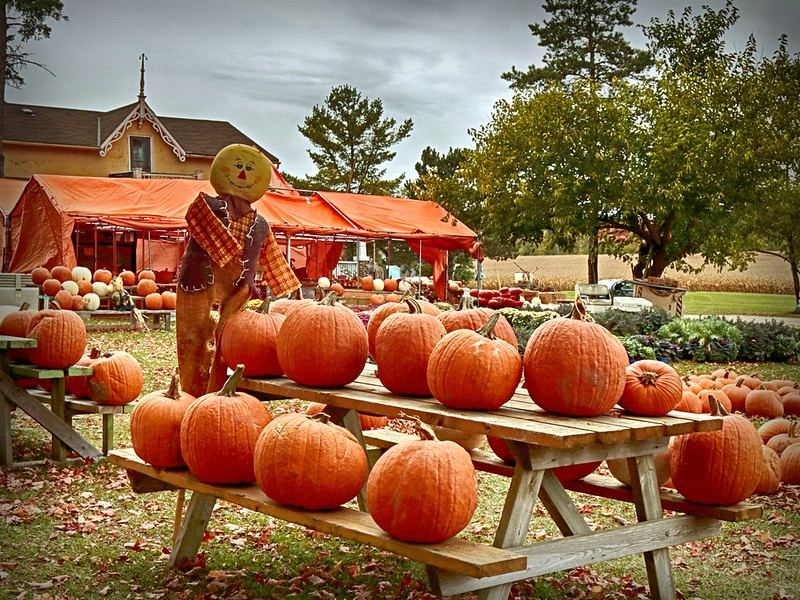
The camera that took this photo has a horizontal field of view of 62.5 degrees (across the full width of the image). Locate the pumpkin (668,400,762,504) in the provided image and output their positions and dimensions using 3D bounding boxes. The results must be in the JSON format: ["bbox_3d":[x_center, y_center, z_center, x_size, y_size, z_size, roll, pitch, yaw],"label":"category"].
[{"bbox_3d":[2.042,0.994,4.355,0.599,0.835,0.607,1,-1,27],"label":"pumpkin"}]

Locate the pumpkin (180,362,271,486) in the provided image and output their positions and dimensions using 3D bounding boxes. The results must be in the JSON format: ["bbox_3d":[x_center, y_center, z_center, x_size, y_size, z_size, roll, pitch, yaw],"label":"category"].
[{"bbox_3d":[-1.084,0.796,4.129,0.523,0.702,0.528,4,-9,-36],"label":"pumpkin"}]

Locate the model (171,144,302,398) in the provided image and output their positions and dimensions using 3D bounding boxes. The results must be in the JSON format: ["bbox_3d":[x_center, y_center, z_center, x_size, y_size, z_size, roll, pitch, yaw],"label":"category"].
[{"bbox_3d":[-1.368,-0.263,5.282,0.367,1.959,0.877,6,8,38],"label":"model"}]

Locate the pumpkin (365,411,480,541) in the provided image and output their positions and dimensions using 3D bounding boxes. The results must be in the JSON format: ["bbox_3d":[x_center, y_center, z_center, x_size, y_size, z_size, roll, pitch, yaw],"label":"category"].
[{"bbox_3d":[0.111,0.892,3.372,0.505,0.573,0.474,2,-6,0],"label":"pumpkin"}]

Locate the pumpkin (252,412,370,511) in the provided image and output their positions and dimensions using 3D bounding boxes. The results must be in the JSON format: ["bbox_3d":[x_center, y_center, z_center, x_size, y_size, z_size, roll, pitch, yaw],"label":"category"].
[{"bbox_3d":[-0.485,0.840,3.677,0.510,0.467,0.502,7,4,-38],"label":"pumpkin"}]
